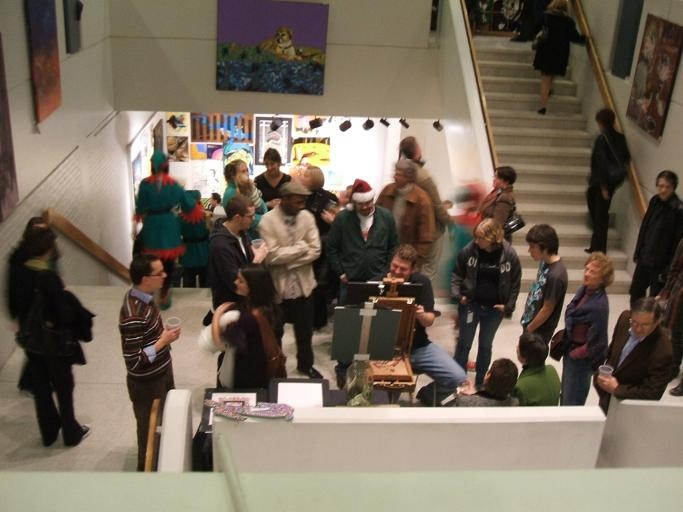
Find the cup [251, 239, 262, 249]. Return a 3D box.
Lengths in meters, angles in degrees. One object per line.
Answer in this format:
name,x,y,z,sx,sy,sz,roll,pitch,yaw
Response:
cup,-0.731,-0.099,4.773,0.077,0.061,0.081,0,23,0

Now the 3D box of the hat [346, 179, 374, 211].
hat,0.194,-0.594,5.151,0.219,0.257,0.288,-7,19,-1

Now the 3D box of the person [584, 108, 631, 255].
person,3.541,-0.989,7.247,0.460,1.905,0.585,10,16,41

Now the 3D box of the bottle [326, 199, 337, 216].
bottle,-0.080,-0.538,5.889,0.088,0.160,0.155,3,7,17

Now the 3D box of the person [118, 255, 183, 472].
person,-1.373,0.806,3.912,0.459,1.745,0.637,-5,40,-14

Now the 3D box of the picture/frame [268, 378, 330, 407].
picture/frame,-0.248,0.860,3.333,0.369,0.095,0.316,-2,13,-6

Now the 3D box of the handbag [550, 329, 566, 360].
handbag,1.885,0.767,4.674,0.103,0.202,0.260,18,32,11

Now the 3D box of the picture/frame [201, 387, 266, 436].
picture/frame,-0.639,0.924,3.267,0.373,0.121,0.368,-2,13,-5

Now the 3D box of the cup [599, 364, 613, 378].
cup,1.844,0.801,3.754,0.064,0.051,0.065,-6,25,3

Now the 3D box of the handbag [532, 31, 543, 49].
handbag,2.992,-3.227,8.049,0.081,0.221,0.164,22,2,-7
